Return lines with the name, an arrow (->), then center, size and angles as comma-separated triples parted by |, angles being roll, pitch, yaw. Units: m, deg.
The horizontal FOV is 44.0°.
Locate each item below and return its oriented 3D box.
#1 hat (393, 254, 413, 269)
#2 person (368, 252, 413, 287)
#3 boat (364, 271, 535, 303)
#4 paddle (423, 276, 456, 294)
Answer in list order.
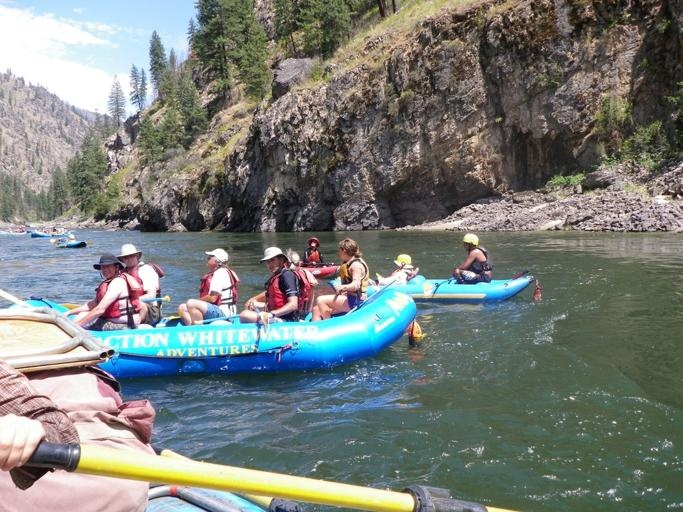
hat -> 2.336, 0.239, 31.800 | 0.612, 0.275, 0.593 | 4, 2, 2
person -> 2.156, 0.644, 31.598 | 1.034, 0.613, 1.484 | 11, 21, 26
boat -> 4.425, 1.287, 30.941 | 4.746, 0.744, 2.105 | -2, -2, 5
paddle -> 3.540, 1.122, 31.114 | 0.153, 0.468, 1.329 | 25, -30, -38
